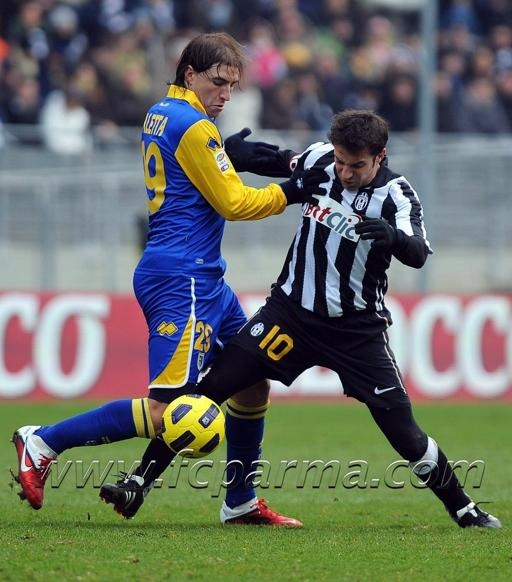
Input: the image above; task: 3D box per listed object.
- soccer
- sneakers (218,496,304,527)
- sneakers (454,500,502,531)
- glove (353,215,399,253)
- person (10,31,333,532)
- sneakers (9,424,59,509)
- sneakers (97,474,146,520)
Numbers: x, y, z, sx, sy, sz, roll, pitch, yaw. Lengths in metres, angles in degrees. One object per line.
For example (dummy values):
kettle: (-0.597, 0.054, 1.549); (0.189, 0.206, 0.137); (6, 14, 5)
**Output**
soccer: (-0.245, 0.520, 4.057); (0.293, 0.237, 0.274); (-7, 25, -17)
sneakers: (0.020, 0.959, 4.297); (0.383, 0.125, 0.121); (1, -12, 1)
sneakers: (0.911, 0.928, 4.129); (0.193, 0.069, 0.096); (5, 11, 25)
glove: (0.468, -0.222, 3.926); (0.170, 0.117, 0.121); (6, 5, 27)
person: (-0.371, -0.082, 4.095); (1.058, 1.967, 0.438); (4, 5, -8)
sneakers: (-0.896, 0.697, 4.084); (0.222, 0.355, 0.131); (-12, -6, 16)
sneakers: (-0.520, 0.840, 4.031); (0.153, 0.093, 0.268); (-32, -12, 1)
